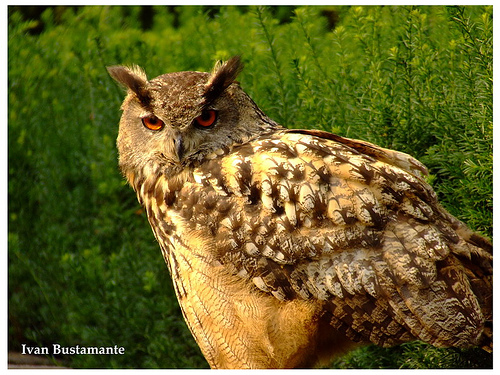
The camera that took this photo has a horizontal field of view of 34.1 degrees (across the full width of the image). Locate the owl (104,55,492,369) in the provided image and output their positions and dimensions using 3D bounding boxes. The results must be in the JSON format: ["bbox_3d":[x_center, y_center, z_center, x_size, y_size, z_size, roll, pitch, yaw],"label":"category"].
[{"bbox_3d":[0.198,0.210,4.098,2.245,1.236,1.739,-4,96,14],"label":"owl"}]
